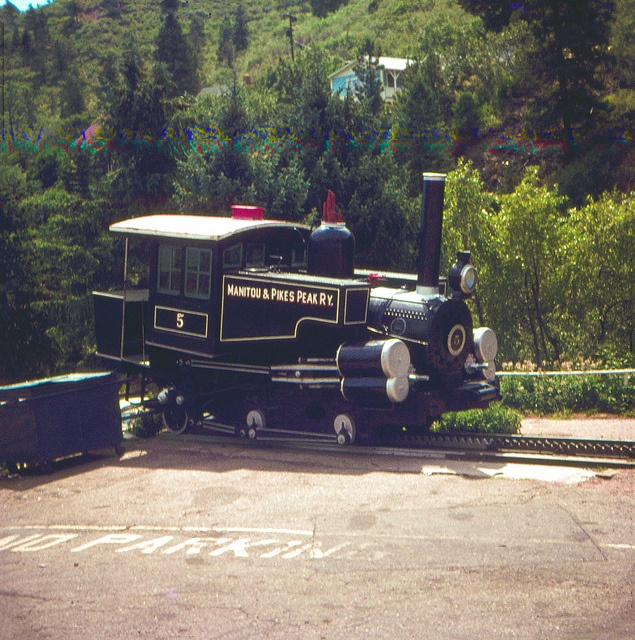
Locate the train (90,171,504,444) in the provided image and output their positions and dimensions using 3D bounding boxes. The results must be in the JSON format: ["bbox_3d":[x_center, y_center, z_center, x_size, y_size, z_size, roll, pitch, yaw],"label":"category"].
[{"bbox_3d":[-0.198,0.120,20.980,7.066,7.294,3.888,1,3,37],"label":"train"}]
